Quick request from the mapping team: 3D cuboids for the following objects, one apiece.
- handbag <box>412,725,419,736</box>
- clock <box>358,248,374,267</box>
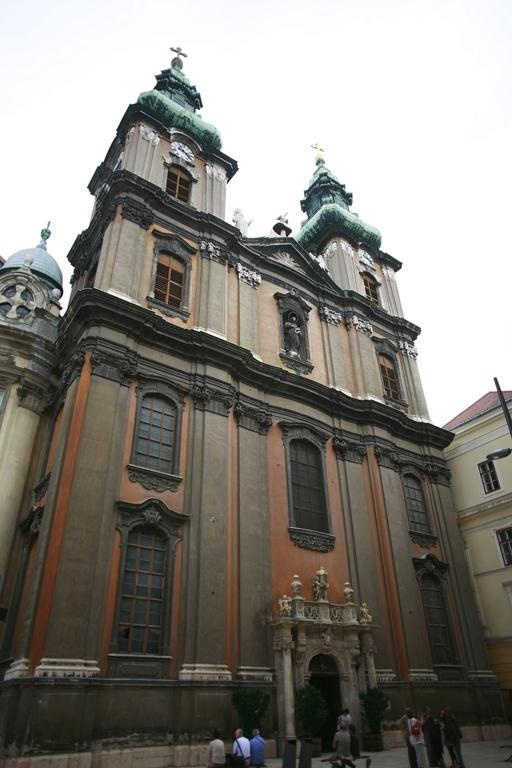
[{"bbox_3d":[2.809,6.123,8.270,0.104,0.120,0.114,0,-14,9],"label":"handbag"},{"bbox_3d":[6.914,-8.026,29.831,1.406,1.552,0.123,33,-61,-11],"label":"clock"}]
